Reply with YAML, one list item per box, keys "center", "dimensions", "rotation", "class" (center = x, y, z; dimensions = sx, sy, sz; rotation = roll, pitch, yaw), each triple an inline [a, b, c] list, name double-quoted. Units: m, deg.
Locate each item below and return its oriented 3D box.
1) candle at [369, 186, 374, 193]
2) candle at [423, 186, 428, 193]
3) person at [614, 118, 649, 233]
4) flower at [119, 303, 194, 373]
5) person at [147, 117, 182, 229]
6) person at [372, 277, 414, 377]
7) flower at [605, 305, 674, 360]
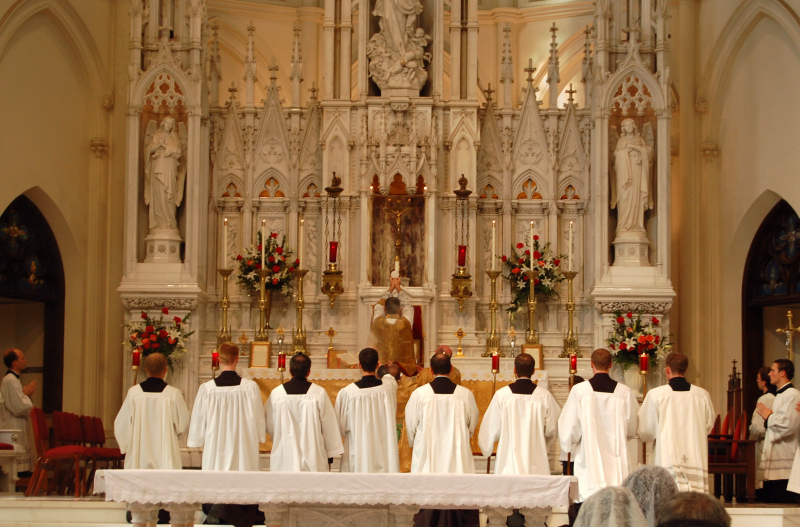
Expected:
- center: [-0.529, -1.400, 31.434]
  dimensions: [0.104, 0.094, 0.104]
  rotation: [10, -47, 3]
  class: "candle"
- center: [0.481, -1.393, 31.346]
  dimensions: [0.100, 0.163, 0.034]
  rotation: [-7, -9, 39]
  class: "candle"
- center: [4.372, -1.624, 31.151]
  dimensions: [0.701, 2.192, 0.422]
  rotation: [-2, -7, 7]
  class: "person"
- center: [-4.607, 1.435, 30.642]
  dimensions: [1.176, 1.177, 1.149]
  rotation: [-3, -8, 24]
  class: "flower"
- center: [-4.469, -1.725, 31.326]
  dimensions: [0.734, 2.241, 0.515]
  rotation: [0, -7, -9]
  class: "person"
- center: [-0.085, 1.356, 28.894]
  dimensions: [0.665, 0.431, 1.898]
  rotation: [3, -43, 8]
  class: "person"
- center: [4.461, 1.415, 30.681]
  dimensions: [1.050, 1.035, 0.950]
  rotation: [2, -9, -4]
  class: "flower"
